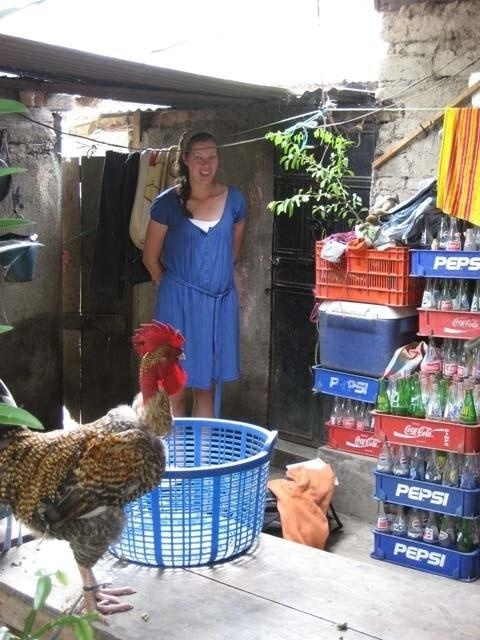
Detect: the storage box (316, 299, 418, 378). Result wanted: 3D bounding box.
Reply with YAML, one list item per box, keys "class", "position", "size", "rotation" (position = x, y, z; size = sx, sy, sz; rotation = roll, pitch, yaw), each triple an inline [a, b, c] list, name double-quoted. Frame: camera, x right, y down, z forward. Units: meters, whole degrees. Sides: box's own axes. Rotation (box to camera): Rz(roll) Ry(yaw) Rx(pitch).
- class: "storage box"
  position: [0.773, 0.107, 4.722]
  size: [0.390, 0.447, 0.588]
  rotation: [-4, 8, -41]

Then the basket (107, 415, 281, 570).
- class: "basket"
  position: [-0.207, 0.732, 3.044]
  size: [0.530, 0.356, 0.597]
  rotation: [3, 9, 27]

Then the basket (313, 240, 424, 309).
- class: "basket"
  position: [0.749, -0.253, 4.424]
  size: [0.375, 0.349, 0.589]
  rotation: [-17, 23, -42]

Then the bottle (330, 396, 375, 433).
- class: "bottle"
  position: [0.723, 0.608, 4.892]
  size: [0.299, 0.179, 0.158]
  rotation: [5, 7, 32]
